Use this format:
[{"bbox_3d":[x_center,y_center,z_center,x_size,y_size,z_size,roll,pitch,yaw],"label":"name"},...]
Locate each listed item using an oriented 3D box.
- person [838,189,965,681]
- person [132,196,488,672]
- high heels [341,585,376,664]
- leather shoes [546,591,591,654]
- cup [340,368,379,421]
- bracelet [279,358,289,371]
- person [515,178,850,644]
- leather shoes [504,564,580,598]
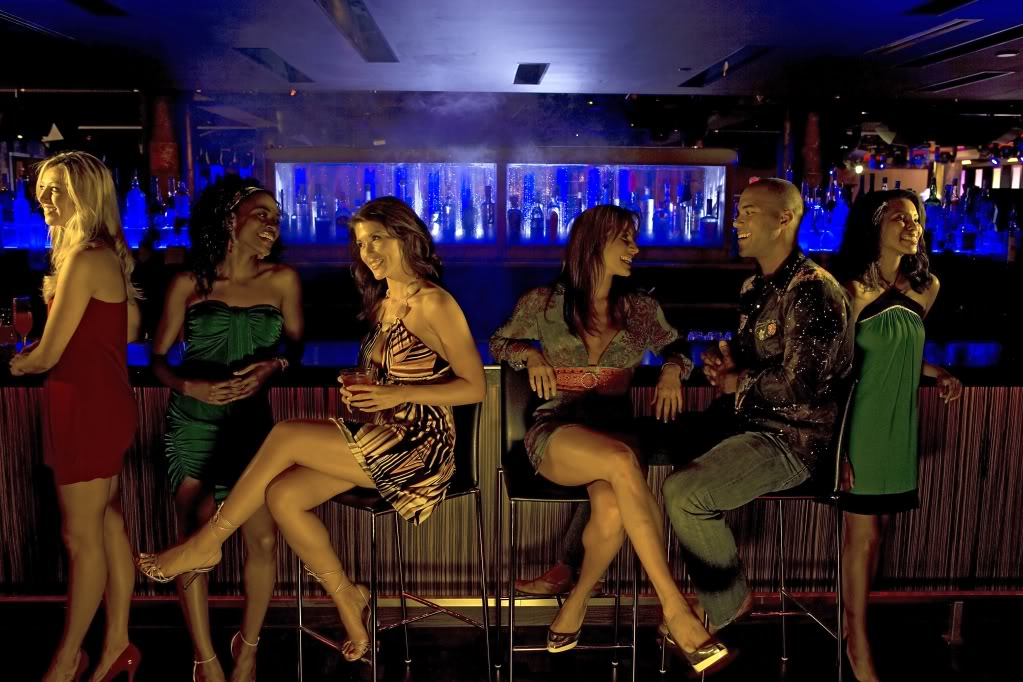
[{"bbox_3d":[1.787,0.426,4.484,0.589,2.210,0.800,4,13,23],"label":"person"},{"bbox_3d":[-0.753,0.376,4.155,1.197,1.945,0.542,-7,13,-28],"label":"person"},{"bbox_3d":[-0.660,1.231,4.215,0.140,0.420,0.117,-3,-3,38],"label":"high heels"},{"bbox_3d":[0.269,1.340,4.451,0.141,0.095,0.361,0,9,13],"label":"leather shoes"},{"bbox_3d":[-0.676,0.244,4.210,0.144,0.325,0.470,-3,12,-9],"label":"cup"},{"bbox_3d":[-1.080,0.113,4.510,0.052,0.025,0.068,-3,8,-19],"label":"bracelet"},{"bbox_3d":[1.099,0.264,4.281,0.916,1.925,0.533,-7,13,-27],"label":"person"},{"bbox_3d":[0.148,1.165,4.644,0.385,0.161,0.118,3,-3,0],"label":"leather shoes"}]
